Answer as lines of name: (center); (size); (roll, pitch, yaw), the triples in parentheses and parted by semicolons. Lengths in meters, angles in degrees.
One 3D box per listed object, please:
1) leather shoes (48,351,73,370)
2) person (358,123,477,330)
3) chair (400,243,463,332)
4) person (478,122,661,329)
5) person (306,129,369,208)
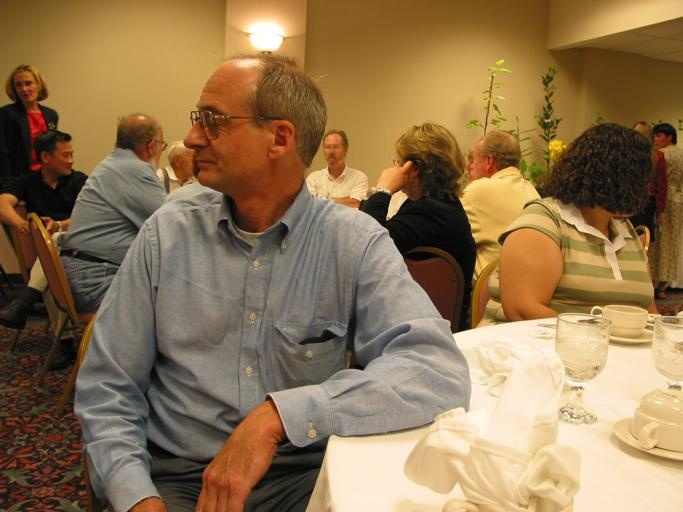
leather shoes: (-1.887, 0.713, 3.509); (0.054, 0.076, 0.178); (1, -9, 2)
person: (0.442, 0.037, 2.985); (0.627, 1.527, 0.576); (8, 14, 27)
chair: (0.464, 0.124, 2.571); (0.275, 0.609, 0.335); (2, 22, 11)
person: (0.963, -0.040, 2.101); (0.720, 0.910, 0.577); (7, -1, -25)
person: (-0.100, -0.930, 6.167); (0.710, 1.213, 0.677); (0, -2, 7)
